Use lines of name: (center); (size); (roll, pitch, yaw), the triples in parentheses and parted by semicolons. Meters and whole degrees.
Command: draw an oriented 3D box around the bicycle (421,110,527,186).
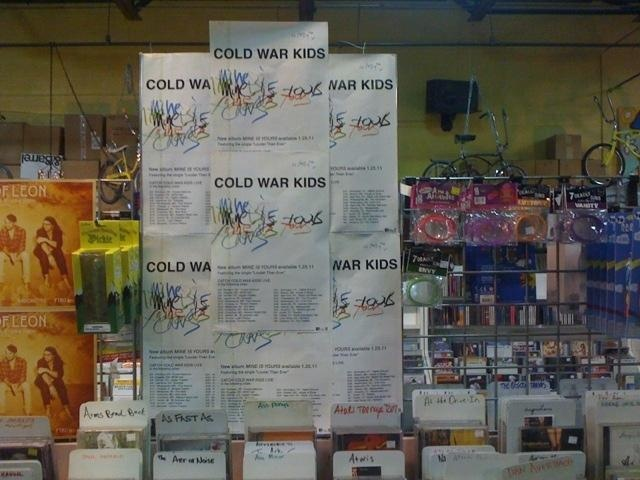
bicycle: (2.258, -1.312, 25.949); (1.713, 1.240, 0.922); (-1, 6, 1)
